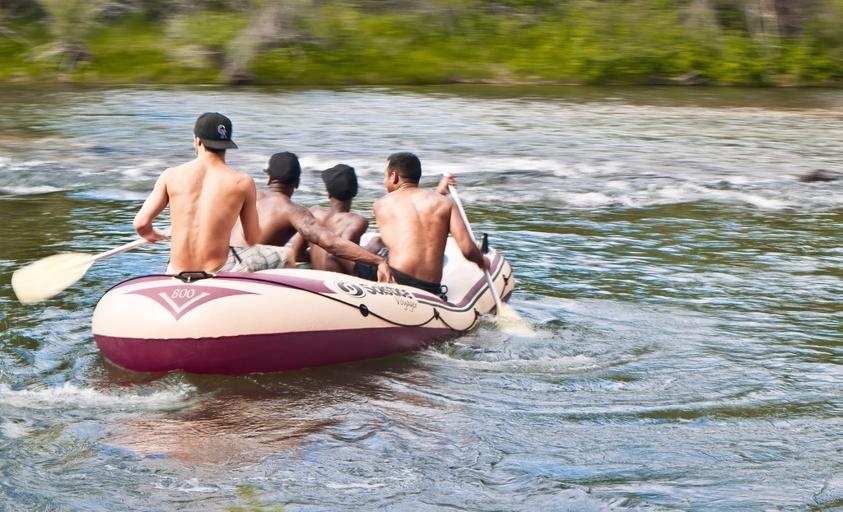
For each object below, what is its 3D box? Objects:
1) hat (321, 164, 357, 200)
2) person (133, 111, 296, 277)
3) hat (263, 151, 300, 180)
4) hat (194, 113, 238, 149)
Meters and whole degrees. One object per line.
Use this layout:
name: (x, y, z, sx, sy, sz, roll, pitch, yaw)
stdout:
hat: (-0.911, -0.873, 10.336, 0.577, 0.248, 0.442, -4, 46, -14)
person: (-2.236, -0.623, 9.095, 1.444, 1.703, 0.604, -5, 19, -12)
hat: (-1.581, -1.038, 10.089, 0.472, 0.181, 0.422, -4, 17, -14)
hat: (-2.161, -1.291, 9.140, 0.386, 0.371, 0.302, -4, 16, -9)
